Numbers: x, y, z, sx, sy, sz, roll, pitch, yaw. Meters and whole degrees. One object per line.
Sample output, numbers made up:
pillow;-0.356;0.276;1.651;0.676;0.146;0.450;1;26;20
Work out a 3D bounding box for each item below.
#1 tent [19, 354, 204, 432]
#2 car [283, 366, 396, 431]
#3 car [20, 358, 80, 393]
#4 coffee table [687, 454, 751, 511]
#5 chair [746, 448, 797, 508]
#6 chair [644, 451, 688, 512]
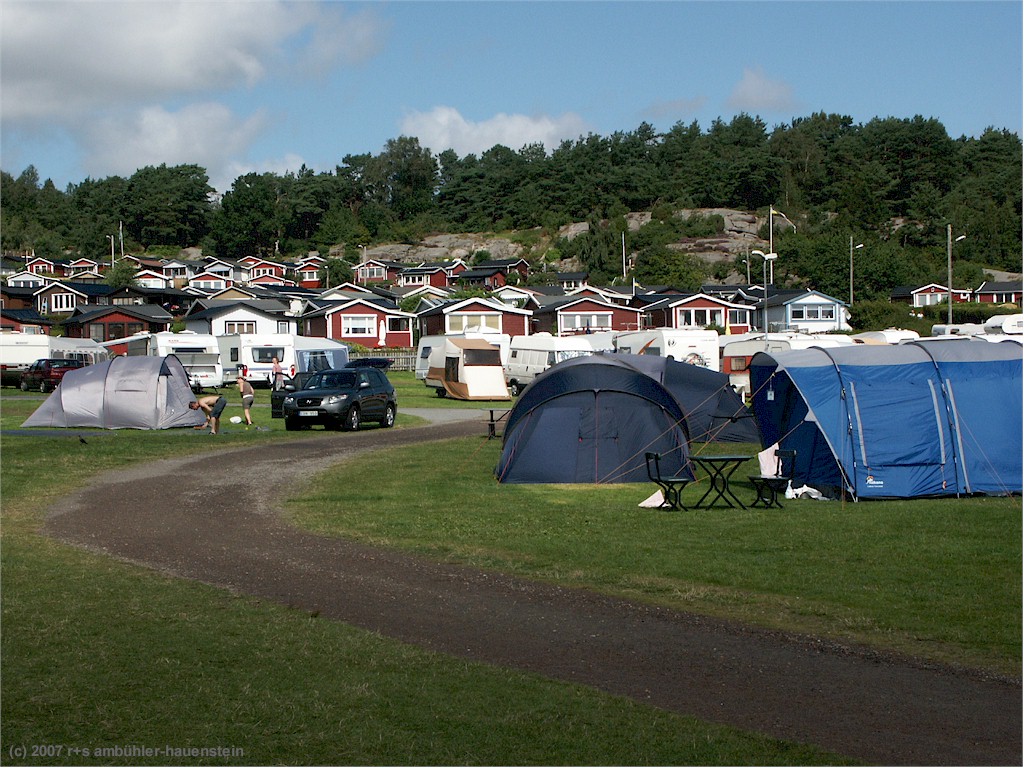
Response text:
tent;-10.253;0.107;35.998;4.036;1.557;2.795;2;5;18
car;-4.659;0.420;37.890;1.989;1.632;4.112;0;2;15
car;-16.236;-0.293;48.344;1.304;1.009;2.837;-1;2;-36
coffee table;3.945;1.873;25.760;1.134;1.039;1.128;1;-3;-5
chair;4.599;1.689;25.391;0.852;1.017;0.822;-1;6;-35
chair;2.926;1.787;25.066;0.712;1.003;0.814;6;4;6
